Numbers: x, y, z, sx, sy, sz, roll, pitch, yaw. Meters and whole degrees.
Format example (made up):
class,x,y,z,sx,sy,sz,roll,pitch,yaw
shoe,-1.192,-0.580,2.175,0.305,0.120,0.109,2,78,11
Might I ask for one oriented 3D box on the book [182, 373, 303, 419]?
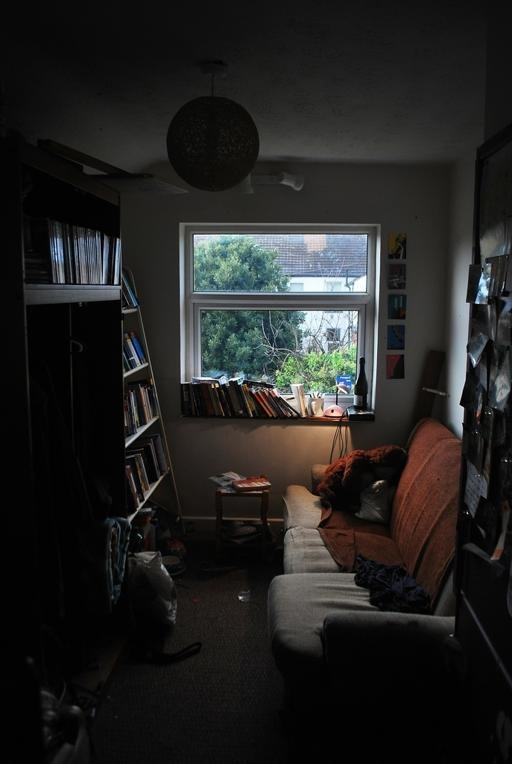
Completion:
class,x,y,z,sx,sy,sz,roll,pitch,yaw
book,-0.118,0.128,3.895,0.810,0.266,0.074,0,4,2

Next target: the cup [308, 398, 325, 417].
class,x,y,z,sx,sy,sz,roll,pitch,yaw
cup,0.413,0.179,3.902,0.097,0.134,0.113,1,5,5

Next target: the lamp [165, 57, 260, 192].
class,x,y,z,sx,sy,sz,roll,pitch,yaw
lamp,-0.181,-0.995,2.153,0.328,0.535,0.359,-4,17,-11

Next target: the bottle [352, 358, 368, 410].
class,x,y,z,sx,sy,sz,roll,pitch,yaw
bottle,0.723,0.015,3.889,0.083,0.355,0.100,0,4,6
